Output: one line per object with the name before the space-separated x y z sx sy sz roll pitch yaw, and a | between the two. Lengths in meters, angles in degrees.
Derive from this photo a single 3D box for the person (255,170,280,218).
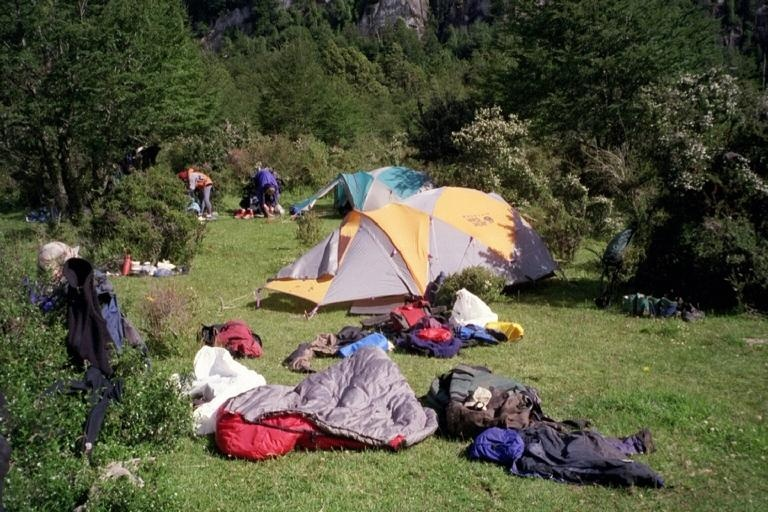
person | -4.493 -2.655 28.798 0.667 1.026 2.297 -9 47 -10

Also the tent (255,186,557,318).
tent | 0.963 -0.241 20.573 5.264 2.053 4.182 -13 16 -26

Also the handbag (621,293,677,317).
handbag | 7.087 1.325 19.814 0.892 0.391 0.723 4 1 4
